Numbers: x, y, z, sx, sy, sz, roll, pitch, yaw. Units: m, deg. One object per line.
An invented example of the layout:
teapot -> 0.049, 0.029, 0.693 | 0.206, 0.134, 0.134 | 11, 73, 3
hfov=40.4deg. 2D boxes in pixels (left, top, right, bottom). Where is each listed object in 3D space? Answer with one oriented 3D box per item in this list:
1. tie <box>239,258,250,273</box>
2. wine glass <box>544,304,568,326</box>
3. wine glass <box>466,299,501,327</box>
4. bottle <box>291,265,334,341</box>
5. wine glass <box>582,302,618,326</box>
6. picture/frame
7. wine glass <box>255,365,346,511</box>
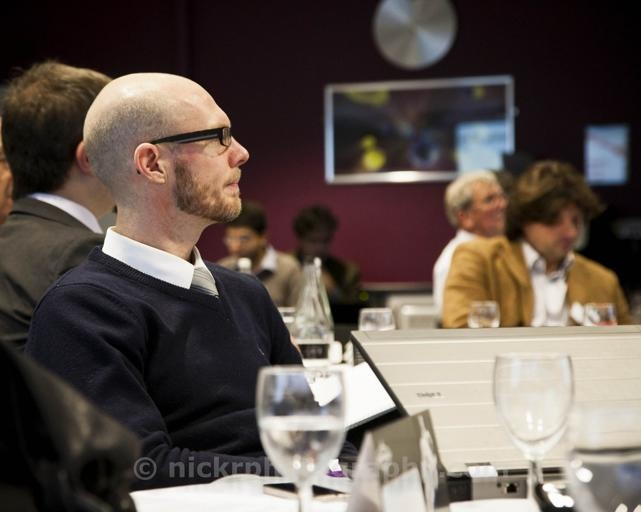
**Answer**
tie -> -0.311, 0.037, 3.542 | 0.046, 0.053, 0.091 | -3, -2, -7
wine glass -> 0.641, 0.160, 2.354 | 0.093, 0.053, 0.032 | -10, 8, -39
wine glass -> 0.411, 0.136, 2.160 | 0.058, 0.058, 0.062 | -4, -2, 7
bottle -> -0.020, 0.142, 2.349 | 0.105, 0.261, 0.105 | 0, -14, 0
wine glass -> 0.683, 0.140, 2.149 | 0.075, 0.058, 0.080 | -1, 0, -12
picture/frame -> 0.570, -0.736, 5.069 | 1.105, 0.610, 0.111 | -4, 5, 10
wine glass -> -0.023, 0.253, 1.215 | 0.129, 0.207, 0.111 | -7, 6, -28
